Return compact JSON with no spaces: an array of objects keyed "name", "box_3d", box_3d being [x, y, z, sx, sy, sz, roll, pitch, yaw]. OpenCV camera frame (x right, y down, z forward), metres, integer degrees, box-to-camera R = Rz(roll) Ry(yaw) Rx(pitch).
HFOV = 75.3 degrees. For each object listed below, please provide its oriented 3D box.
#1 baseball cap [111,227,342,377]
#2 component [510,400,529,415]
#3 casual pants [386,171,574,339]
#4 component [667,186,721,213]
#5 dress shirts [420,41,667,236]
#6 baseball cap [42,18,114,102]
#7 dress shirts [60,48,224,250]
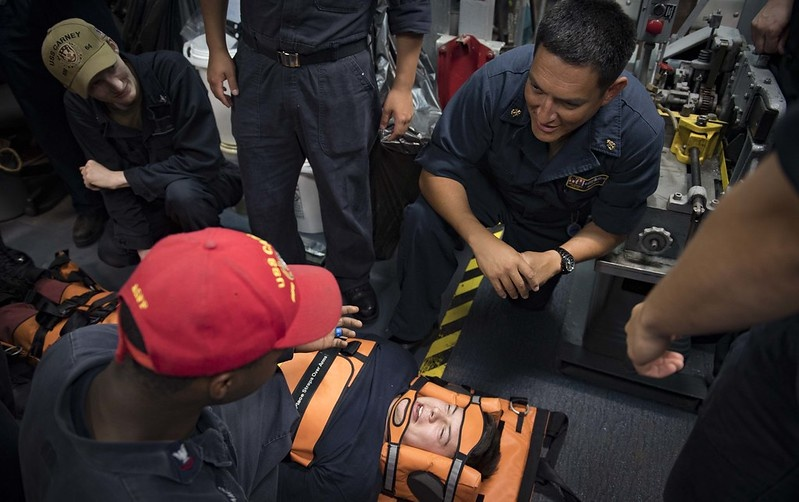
[{"name":"baseball cap","box_3d":[-0.555,0.184,1.721,0.602,0.275,0.451,-11,53,-33]},{"name":"component","box_3d":[0.600,0.791,2.618,0.098,0.024,0.074,15,35,15]},{"name":"casual pants","box_3d":[0.463,0.123,3.531,0.858,1.170,1.211,24,-2,-4]},{"name":"component","box_3d":[1.505,-0.289,2.682,0.153,0.066,0.200,18,41,24]},{"name":"dress shirts","box_3d":[0.857,-0.667,3.121,1.331,1.066,0.779,20,68,12]},{"name":"baseball cap","box_3d":[-1.916,-1.180,3.250,0.490,0.363,0.265,47,11,25]},{"name":"dress shirts","box_3d":[-1.734,-0.595,3.522,0.977,1.298,0.927,-5,16,-17]}]
